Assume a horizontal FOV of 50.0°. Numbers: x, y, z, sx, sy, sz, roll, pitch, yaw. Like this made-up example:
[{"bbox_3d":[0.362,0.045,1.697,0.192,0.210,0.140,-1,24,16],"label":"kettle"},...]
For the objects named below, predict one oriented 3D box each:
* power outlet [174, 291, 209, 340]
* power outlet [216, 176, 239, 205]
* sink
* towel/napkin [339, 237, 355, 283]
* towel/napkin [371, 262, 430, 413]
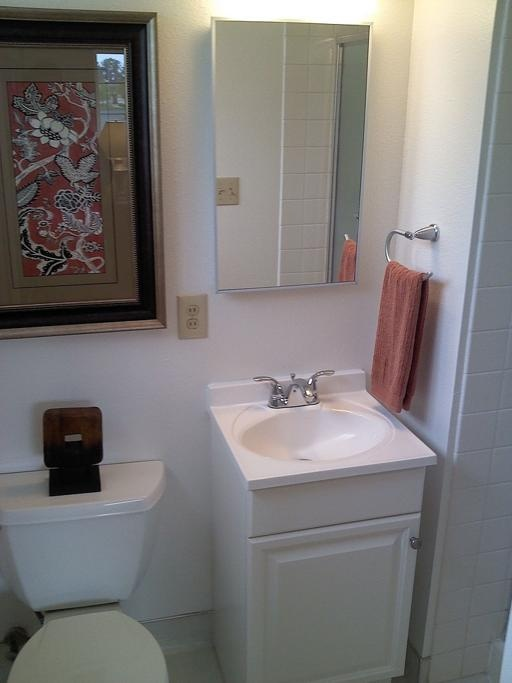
[{"bbox_3d":[-0.172,-0.066,1.476,0.086,0.126,0.017,-4,23,-12],"label":"power outlet"},{"bbox_3d":[-0.075,-0.382,1.372,0.066,0.071,0.007,-1,19,-13],"label":"power outlet"},{"bbox_3d":[0.151,0.261,1.491,0.414,0.122,0.202,-1,19,0],"label":"sink"},{"bbox_3d":[0.251,-0.222,1.525,0.025,0.099,0.092,6,8,26],"label":"towel/napkin"},{"bbox_3d":[0.377,-0.011,1.448,0.101,0.374,0.180,-5,19,-9],"label":"towel/napkin"}]
